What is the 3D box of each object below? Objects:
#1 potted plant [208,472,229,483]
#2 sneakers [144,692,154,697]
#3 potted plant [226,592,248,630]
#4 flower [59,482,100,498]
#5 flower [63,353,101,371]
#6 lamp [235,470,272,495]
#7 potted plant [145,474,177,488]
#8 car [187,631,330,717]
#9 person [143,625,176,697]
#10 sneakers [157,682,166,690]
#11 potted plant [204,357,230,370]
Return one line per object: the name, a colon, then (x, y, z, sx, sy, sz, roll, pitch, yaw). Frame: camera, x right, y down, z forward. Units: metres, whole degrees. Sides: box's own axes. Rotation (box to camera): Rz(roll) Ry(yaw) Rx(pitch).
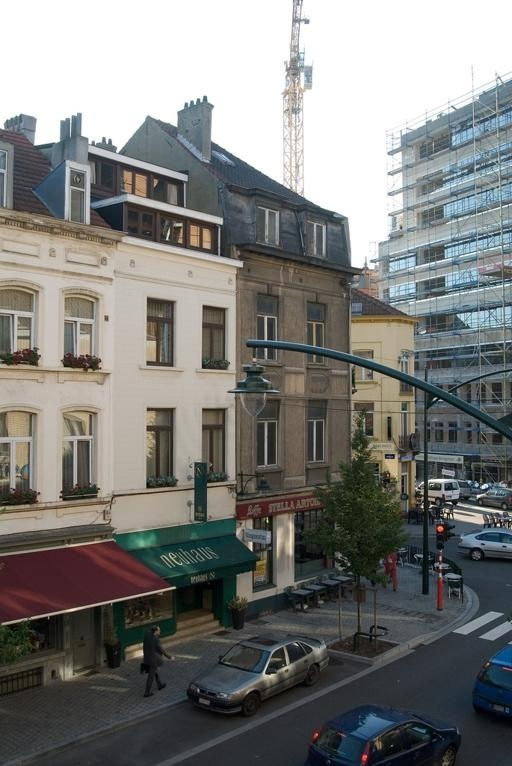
potted plant: (-1.071, 2.726, 29.107, 0.193, 0.297, 0.940, 2, 3, 28)
sneakers: (-2.379, 7.009, 22.845, 0.130, 0.094, 0.293, 2, 3, 28)
potted plant: (-0.468, 6.494, 28.584, 0.502, 0.840, 0.512, -2, 4, -43)
flower: (-4.239, 2.683, 24.613, 0.229, 0.315, 1.147, 3, 4, 35)
flower: (-4.205, -0.480, 24.799, 0.274, 0.447, 1.219, 3, 4, 35)
lamp: (-0.128, 2.999, 30.279, 0.316, 0.715, 1.160, 3, 4, 37)
potted plant: (-2.536, 2.678, 27.158, 0.337, 0.312, 1.073, 3, 4, 35)
car: (0.027, 6.388, 22.563, 1.241, 0.969, 2.741, -1, -3, 37)
person: (-2.287, 6.291, 23.114, 0.559, 1.506, 0.988, 0, 3, -6)
sneakers: (-2.157, 6.964, 23.258, 0.084, 0.187, 0.188, 12, 37, 28)
potted plant: (-1.181, -0.524, 29.232, 0.368, 0.346, 1.096, 2, 4, 30)
